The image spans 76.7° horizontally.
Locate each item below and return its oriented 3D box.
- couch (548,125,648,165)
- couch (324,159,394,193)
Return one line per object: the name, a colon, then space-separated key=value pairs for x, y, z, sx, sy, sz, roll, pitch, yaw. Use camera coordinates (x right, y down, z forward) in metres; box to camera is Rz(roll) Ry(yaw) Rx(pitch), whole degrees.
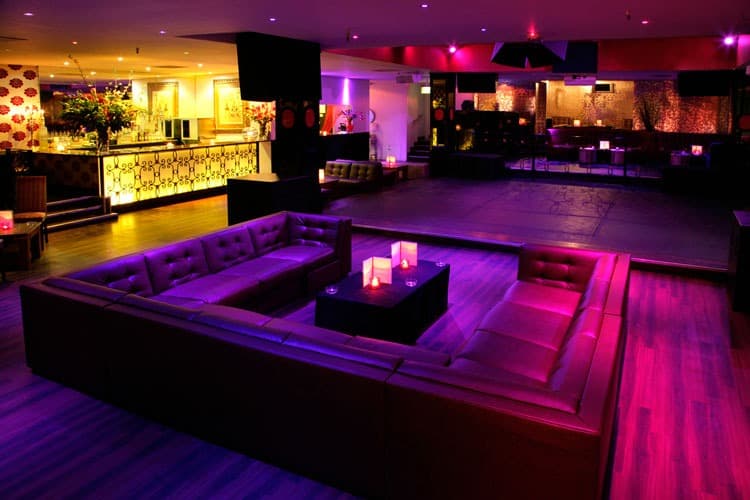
couch: x=8.378 y=-3.992 z=17.969 sx=3.317 sy=1.389 sz=2.373 roll=11 pitch=16 yaw=28
couch: x=-0.678 y=-2.074 z=13.102 sx=1.413 sy=0.798 sz=2.954 roll=12 pitch=16 yaw=30
